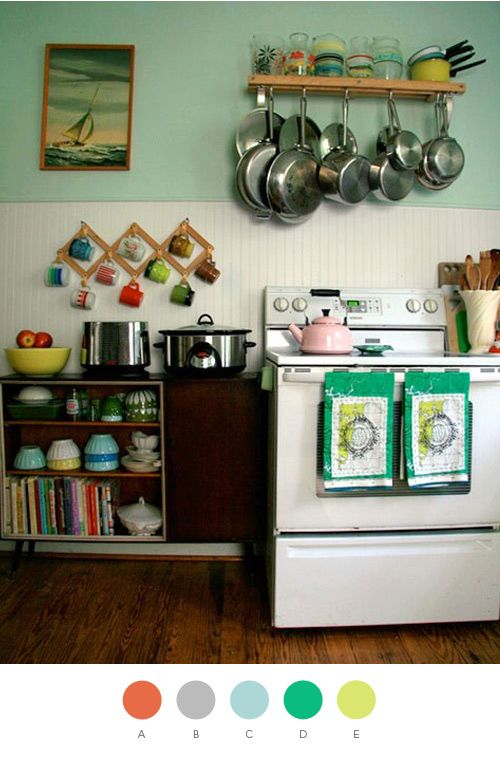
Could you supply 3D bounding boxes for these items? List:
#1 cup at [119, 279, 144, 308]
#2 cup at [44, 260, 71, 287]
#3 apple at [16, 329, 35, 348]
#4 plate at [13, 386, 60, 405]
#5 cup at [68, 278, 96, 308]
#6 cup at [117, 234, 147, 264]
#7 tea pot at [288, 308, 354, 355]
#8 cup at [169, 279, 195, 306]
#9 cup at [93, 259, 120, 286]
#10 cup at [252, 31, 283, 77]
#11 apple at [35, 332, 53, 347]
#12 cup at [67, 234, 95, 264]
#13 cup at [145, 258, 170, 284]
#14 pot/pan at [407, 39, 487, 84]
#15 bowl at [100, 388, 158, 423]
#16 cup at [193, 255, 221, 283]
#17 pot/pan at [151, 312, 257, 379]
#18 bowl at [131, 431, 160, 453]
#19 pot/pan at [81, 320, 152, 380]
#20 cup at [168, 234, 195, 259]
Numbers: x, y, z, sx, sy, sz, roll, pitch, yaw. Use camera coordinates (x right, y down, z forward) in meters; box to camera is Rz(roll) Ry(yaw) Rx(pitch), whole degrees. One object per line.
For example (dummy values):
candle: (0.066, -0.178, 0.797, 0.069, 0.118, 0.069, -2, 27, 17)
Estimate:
cup: (-0.455, -0.331, 2.370, 0.094, 0.102, 0.074, 0, 6, -9)
cup: (-0.727, -0.398, 2.345, 0.096, 0.133, 0.081, 0, -2, 5)
apple: (-0.814, -0.157, 2.259, 0.070, 0.065, 0.069, -10, 12, -23)
plate: (-0.743, 0.041, 2.164, 0.076, 0.037, 0.084, 1, 3, 26)
cup: (-0.612, -0.328, 2.349, 0.072, 0.119, 0.120, 1, 0, -3)
cup: (-0.444, -0.493, 2.330, 0.089, 0.117, 0.074, 7, 11, -5)
tea pot: (0.233, -0.158, 1.988, 0.170, 0.112, 0.137, 5, 5, 14)
cup: (-0.258, -0.332, 2.368, 0.091, 0.099, 0.073, 0, 6, -8)
cup: (-0.547, -0.409, 2.364, 0.089, 0.093, 0.080, -1, 6, -15)
cup: (0.065, -1.156, 2.248, 0.131, 0.142, 0.137, 1, 1, 0)
apple: (-0.752, -0.145, 2.249, 0.056, 0.053, 0.055, 3, -16, 13)
cup: (-0.647, -0.502, 2.362, 0.085, 0.072, 0.062, 25, -2, 37)
cup: (-0.349, -0.409, 2.340, 0.081, 0.110, 0.071, 2, -11, -9)
pot/pan: (0.695, -1.147, 2.265, 0.238, 0.138, 0.170, 2, 6, 12)
bowl: (-0.423, 0.087, 2.171, 0.179, 0.081, 0.114, 0, 1, 19)
cup: (-0.162, -0.412, 2.344, 0.084, 0.115, 0.073, 9, -21, -4)
pot/pan: (-0.157, -0.094, 2.194, 0.262, 0.170, 0.248, 0, -3, -3)
bowl: (-0.371, 0.213, 2.198, 0.081, 0.052, 0.080, 8, 3, 0)
pot/pan: (-0.479, -0.102, 2.205, 0.207, 0.151, 0.204, 0, -2, -6)
cup: (-0.261, -0.501, 2.362, 0.071, 0.109, 0.075, 4, -16, 1)
